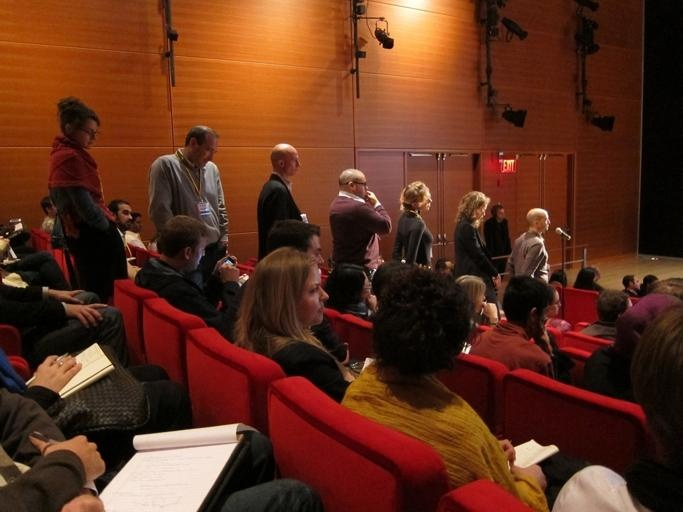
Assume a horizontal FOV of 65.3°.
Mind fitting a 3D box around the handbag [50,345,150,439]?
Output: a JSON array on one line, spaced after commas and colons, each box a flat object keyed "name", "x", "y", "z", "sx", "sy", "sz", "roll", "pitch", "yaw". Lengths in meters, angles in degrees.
[{"name": "handbag", "x": -0.879, "y": 0.554, "z": 1.991, "sx": 0.238, "sy": 0.181, "sz": 0.311, "roll": 6, "pitch": 10, "yaw": 28}]

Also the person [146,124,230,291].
[{"name": "person", "x": -1.176, "y": -0.115, "z": 4.219, "sx": 0.624, "sy": 1.765, "sz": 0.440, "roll": -6, "pitch": 10, "yaw": -43}]
